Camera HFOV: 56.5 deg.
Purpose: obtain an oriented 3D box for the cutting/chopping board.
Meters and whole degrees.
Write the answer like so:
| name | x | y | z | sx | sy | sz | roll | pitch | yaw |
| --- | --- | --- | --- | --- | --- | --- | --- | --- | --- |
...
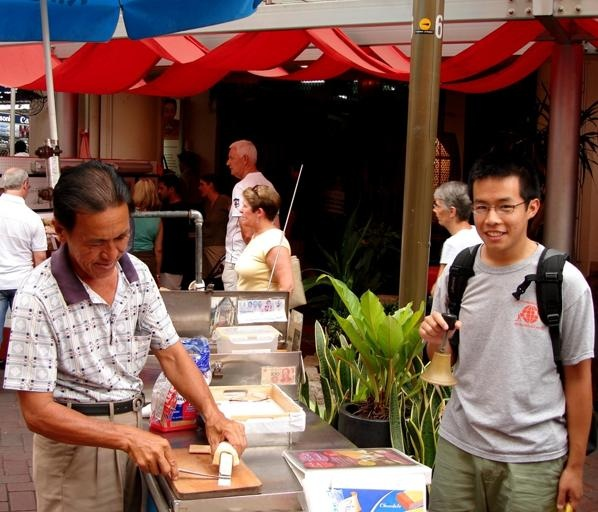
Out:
| name | x | y | z | sx | sy | sz | roll | pitch | yaw |
| --- | --- | --- | --- | --- | --- | --- | --- | --- | --- |
| cutting/chopping board | -0.293 | 0.725 | 1.886 | 0.280 | 0.057 | 0.356 | -3 | 2 | -15 |

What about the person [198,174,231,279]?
| name | x | y | z | sx | sy | sz | roll | pitch | yaw |
| --- | --- | --- | --- | --- | --- | --- | --- | --- | --- |
| person | -1.271 | -0.274 | 8.589 | 0.528 | 1.877 | 0.546 | -11 | 24 | -38 |

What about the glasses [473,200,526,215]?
| name | x | y | z | sx | sy | sz | roll | pitch | yaw |
| --- | --- | --- | --- | --- | --- | --- | --- | --- | --- |
| glasses | 0.723 | -0.170 | 1.997 | 0.173 | 0.046 | 0.064 | -2 | 2 | 20 |

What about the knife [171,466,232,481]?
| name | x | y | z | sx | sy | sz | roll | pitch | yaw |
| --- | --- | --- | --- | --- | --- | --- | --- | --- | --- |
| knife | -0.327 | 0.714 | 1.812 | 0.168 | 0.025 | 0.061 | 1 | 4 | 1 |

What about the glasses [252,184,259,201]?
| name | x | y | z | sx | sy | sz | roll | pitch | yaw |
| --- | --- | --- | --- | --- | --- | --- | --- | --- | --- |
| glasses | -0.336 | -0.494 | 4.359 | 0.081 | 0.095 | 0.107 | 0 | -3 | -3 |
